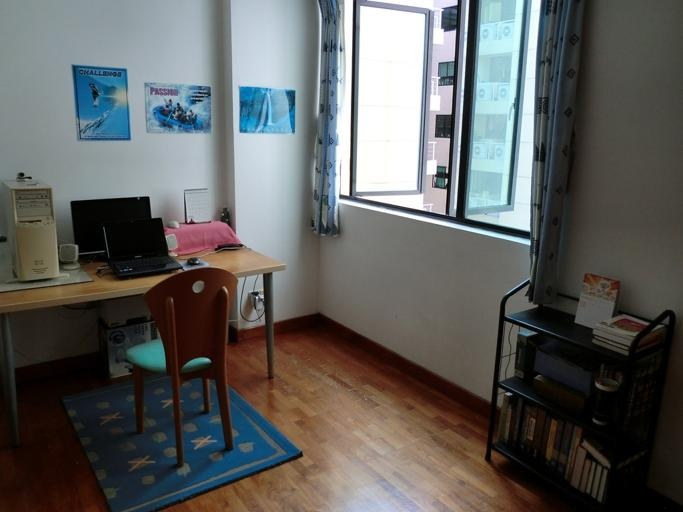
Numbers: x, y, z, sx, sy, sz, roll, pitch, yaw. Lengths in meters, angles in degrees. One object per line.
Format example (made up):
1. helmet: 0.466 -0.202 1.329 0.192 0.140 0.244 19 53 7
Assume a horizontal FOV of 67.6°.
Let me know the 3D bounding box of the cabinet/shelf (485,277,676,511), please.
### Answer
1. cabinet/shelf: 1.277 0.748 2.657 0.425 1.452 0.817 -5 16 -30

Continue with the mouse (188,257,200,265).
1. mouse: -1.020 0.035 3.483 0.042 0.033 0.084 -3 7 -33

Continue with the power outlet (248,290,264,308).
1. power outlet: -0.719 0.366 4.250 0.054 0.122 0.152 -4 3 -3

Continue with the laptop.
1. laptop: -1.325 -0.021 3.343 0.418 0.296 0.431 -10 24 -32

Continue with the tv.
1. tv: -1.632 -0.265 3.599 0.675 0.498 0.377 -5 11 -31

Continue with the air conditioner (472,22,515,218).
1. air conditioner: 0.971 -0.882 3.263 0.094 1.140 0.282 -13 17 -38

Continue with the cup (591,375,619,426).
1. cup: 1.301 0.722 2.510 0.102 0.212 0.109 -2 14 0

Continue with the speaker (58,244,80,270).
1. speaker: -1.792 0.005 3.378 0.150 0.160 0.147 3 4 5

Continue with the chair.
1. chair: -0.902 0.591 2.872 0.577 1.103 0.364 3 15 21
